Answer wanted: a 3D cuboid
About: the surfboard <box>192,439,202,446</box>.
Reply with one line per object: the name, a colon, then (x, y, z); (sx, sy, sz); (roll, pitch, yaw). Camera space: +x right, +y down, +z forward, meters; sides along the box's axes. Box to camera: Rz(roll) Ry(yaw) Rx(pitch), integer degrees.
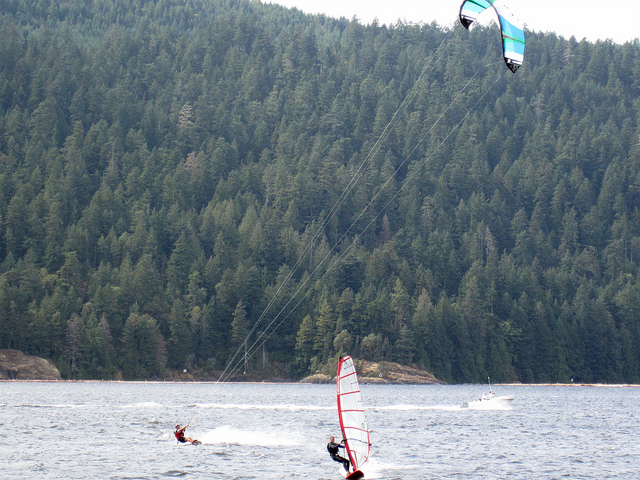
surfboard: (-23.624, 38.596, 276.790); (1.632, 0.917, 2.089); (9, 10, 42)
